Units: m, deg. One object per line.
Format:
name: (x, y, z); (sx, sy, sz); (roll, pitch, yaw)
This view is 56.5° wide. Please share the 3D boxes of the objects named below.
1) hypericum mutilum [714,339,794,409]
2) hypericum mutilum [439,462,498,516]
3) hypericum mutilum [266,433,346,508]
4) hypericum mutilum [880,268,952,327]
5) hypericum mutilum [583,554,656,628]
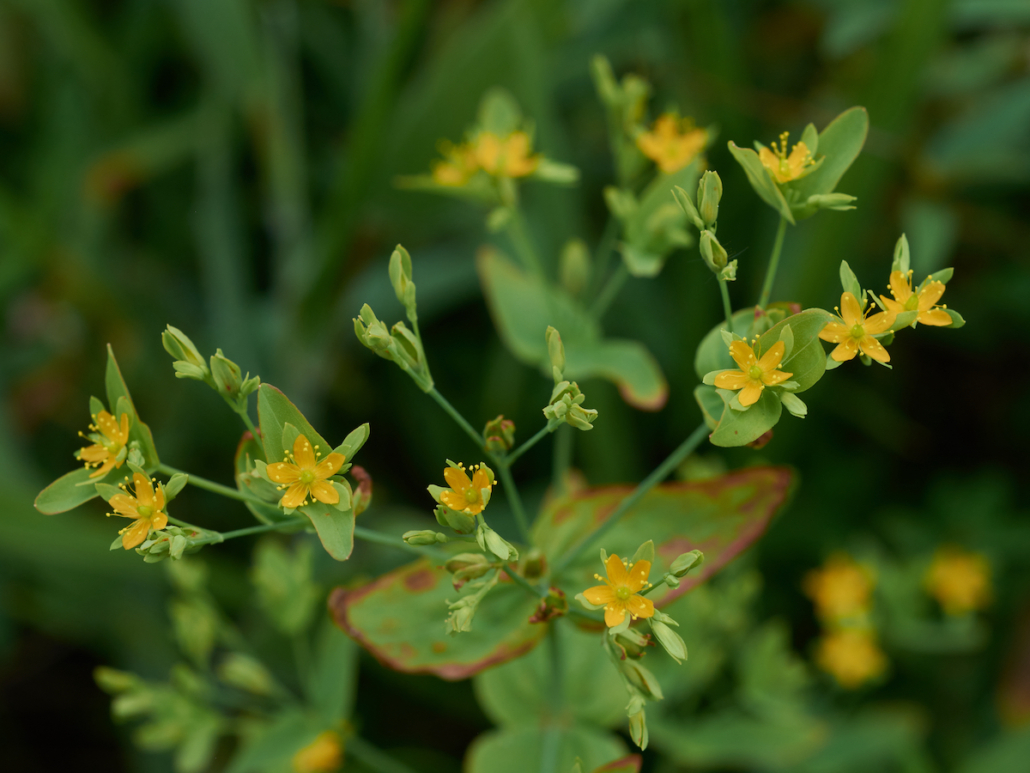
hypericum mutilum: (0.177, -0.014, 0.697); (0.064, 0.063, 0.026); (25, 74, -17)
hypericum mutilum: (-0.037, 0.067, 0.680); (0.043, 0.048, 0.028); (-16, 73, -25)
hypericum mutilum: (-0.147, 0.060, 0.674); (0.055, 0.031, 0.042); (-10, 62, 7)
hypericum mutilum: (0.281, -0.066, 0.690); (0.038, 0.037, 0.018); (5, 76, -9)
hypericum mutilum: (0.075, 0.138, 0.665); (0.066, 0.070, 0.028); (-1, 102, 25)
